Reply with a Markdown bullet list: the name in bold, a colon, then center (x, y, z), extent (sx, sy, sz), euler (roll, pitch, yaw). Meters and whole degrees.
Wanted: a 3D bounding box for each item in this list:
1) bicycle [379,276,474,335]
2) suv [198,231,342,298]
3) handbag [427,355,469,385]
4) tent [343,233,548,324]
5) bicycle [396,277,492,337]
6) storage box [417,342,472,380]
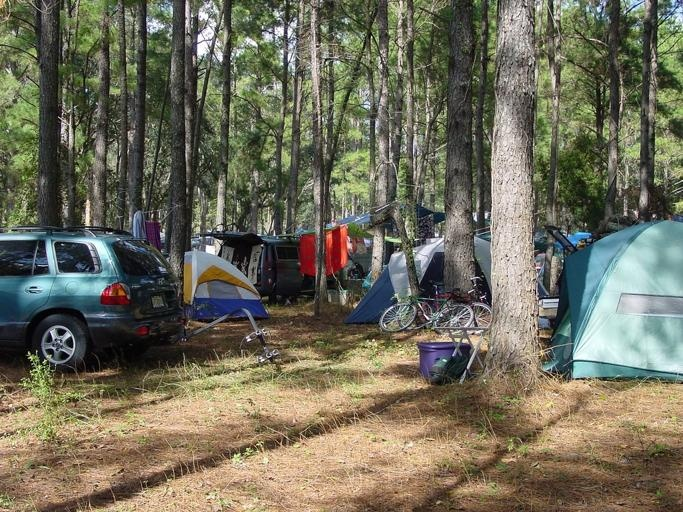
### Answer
- **bicycle**: center (1.841, 1.180, 14.730), extent (2.144, 0.856, 1.149), euler (-2, 39, 23)
- **suv**: center (-2.361, 0.151, 21.413), extent (3.342, 2.031, 2.063), euler (-3, 2, -44)
- **handbag**: center (1.700, 1.756, 10.720), extent (0.502, 0.227, 0.406), euler (-27, 43, -13)
- **tent**: center (1.793, 0.521, 17.205), extent (2.773, 1.463, 2.948), euler (-3, 2, 21)
- **bicycle**: center (2.009, 1.219, 14.765), extent (2.017, 1.136, 1.305), euler (-3, 28, 20)
- **storage box**: center (1.550, 1.687, 11.217), extent (0.600, 0.434, 0.472), euler (0, -10, 43)
